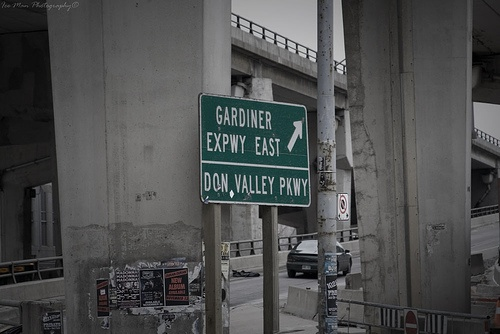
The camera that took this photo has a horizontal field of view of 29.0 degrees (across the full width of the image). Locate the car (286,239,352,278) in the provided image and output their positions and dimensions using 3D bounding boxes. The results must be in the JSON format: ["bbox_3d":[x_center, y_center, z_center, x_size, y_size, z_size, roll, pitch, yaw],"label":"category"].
[{"bbox_3d":[2.839,3.971,41.314,1.558,0.941,2.821,-1,-2,24],"label":"car"}]
